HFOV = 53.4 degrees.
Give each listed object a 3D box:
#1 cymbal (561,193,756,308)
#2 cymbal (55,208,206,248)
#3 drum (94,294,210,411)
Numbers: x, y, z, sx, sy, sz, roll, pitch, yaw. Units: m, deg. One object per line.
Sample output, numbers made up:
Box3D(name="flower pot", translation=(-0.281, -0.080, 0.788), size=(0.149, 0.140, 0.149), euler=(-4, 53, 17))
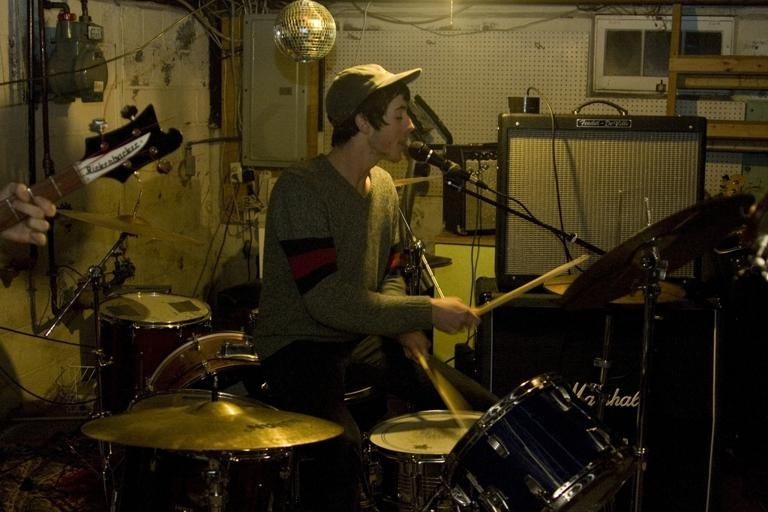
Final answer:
Box3D(name="cymbal", translation=(1.050, 0.000, 3.017), size=(0.654, 0.521, 0.572), euler=(5, 5, 20))
Box3D(name="cymbal", translation=(-1.327, -0.156, 3.947), size=(0.399, 0.091, 0.425), euler=(20, 3, 15))
Box3D(name="drum", translation=(-1.237, 0.576, 4.203), size=(0.596, 0.617, 0.581), euler=(-5, 13, -40))
